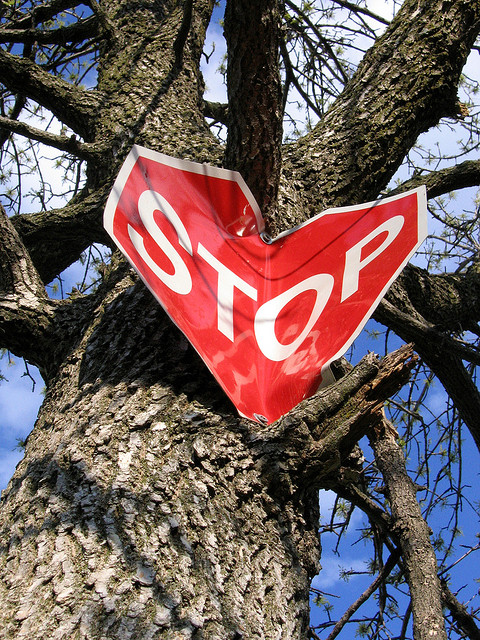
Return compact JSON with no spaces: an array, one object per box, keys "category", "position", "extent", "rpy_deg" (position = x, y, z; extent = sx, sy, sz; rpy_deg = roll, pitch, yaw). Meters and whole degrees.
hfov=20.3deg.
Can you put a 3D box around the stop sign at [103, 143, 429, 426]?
[{"category":"stop sign","position":[0.097,-0.116,5.100],"extent":[1.538,1.004,0.372],"rpy_deg":[3,-22,-21]}]
